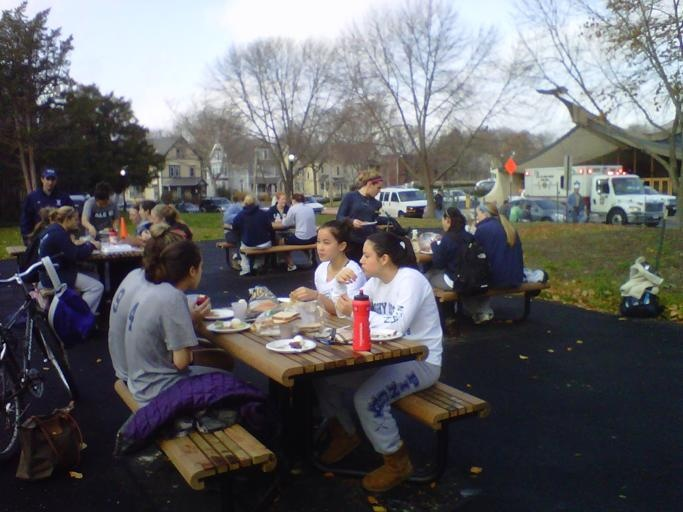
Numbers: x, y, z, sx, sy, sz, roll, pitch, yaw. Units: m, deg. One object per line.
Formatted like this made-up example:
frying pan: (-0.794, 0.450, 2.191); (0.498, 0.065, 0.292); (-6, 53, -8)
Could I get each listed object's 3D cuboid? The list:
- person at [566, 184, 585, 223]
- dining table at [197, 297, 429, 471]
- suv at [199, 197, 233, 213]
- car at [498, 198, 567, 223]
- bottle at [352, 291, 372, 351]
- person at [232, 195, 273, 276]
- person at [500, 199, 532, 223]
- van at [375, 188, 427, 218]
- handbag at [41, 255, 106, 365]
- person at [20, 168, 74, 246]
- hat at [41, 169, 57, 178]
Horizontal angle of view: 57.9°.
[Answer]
person: (8.769, -1.814, 22.943); (0.660, 1.825, 0.556); (9, 29, 40)
dining table: (-0.272, 0.937, 4.988); (0.938, 0.969, 1.810); (-7, 14, -32)
suv: (-9.811, -4.086, 48.441); (2.195, 1.191, 1.387); (-3, 12, 31)
car: (7.564, -1.765, 24.216); (2.174, 0.835, 1.017); (3, 10, 43)
bottle: (0.168, 0.515, 4.832); (0.154, 0.444, 0.155); (3, 6, 0)
person: (-1.882, -0.423, 12.738); (0.917, 1.644, 0.680); (8, 8, 33)
person: (6.574, -1.664, 22.958); (1.061, 0.518, 1.486); (-15, 13, -8)
van: (3.273, -2.847, 33.505); (2.303, 2.130, 3.784); (-5, 7, -31)
handbag: (-3.206, 0.653, 7.335); (0.514, 1.302, 0.611); (-24, 24, -6)
person: (-4.814, -0.740, 10.161); (0.792, 1.310, 0.573); (0, -13, -34)
hat: (-4.760, -1.349, 10.051); (0.171, 0.158, 0.315); (1, 8, -22)
